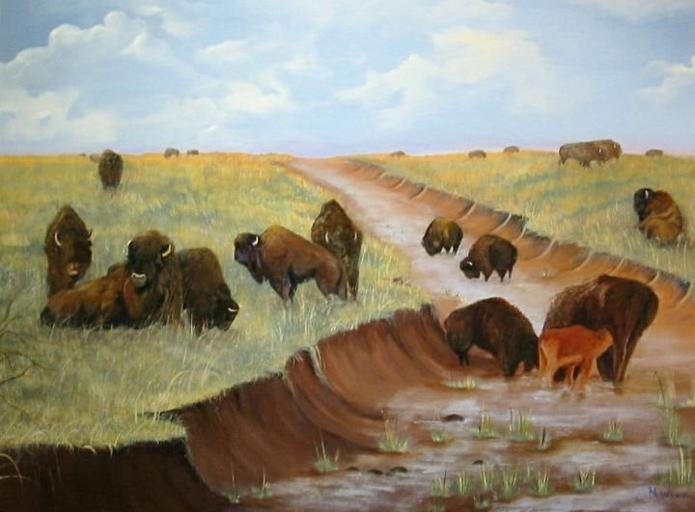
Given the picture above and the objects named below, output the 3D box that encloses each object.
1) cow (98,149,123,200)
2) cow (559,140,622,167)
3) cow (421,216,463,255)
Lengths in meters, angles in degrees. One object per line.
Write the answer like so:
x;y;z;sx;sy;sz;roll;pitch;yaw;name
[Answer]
-4.172;-1.455;15.503;0.433;0.755;0.676;0;5;-15;cow
3.933;-1.641;14.313;0.950;0.403;1.329;4;6;15;cow
1.536;-0.303;14.453;0.412;0.570;0.715;0;3;-17;cow
